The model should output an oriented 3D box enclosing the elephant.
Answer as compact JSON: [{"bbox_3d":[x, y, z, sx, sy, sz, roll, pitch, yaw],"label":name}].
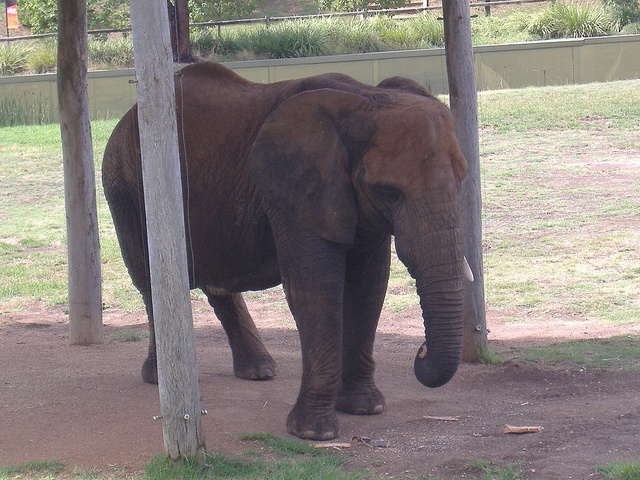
[{"bbox_3d":[-0.412,0.040,14.738,5.449,4.096,2.947,8,12,41],"label":"elephant"}]
